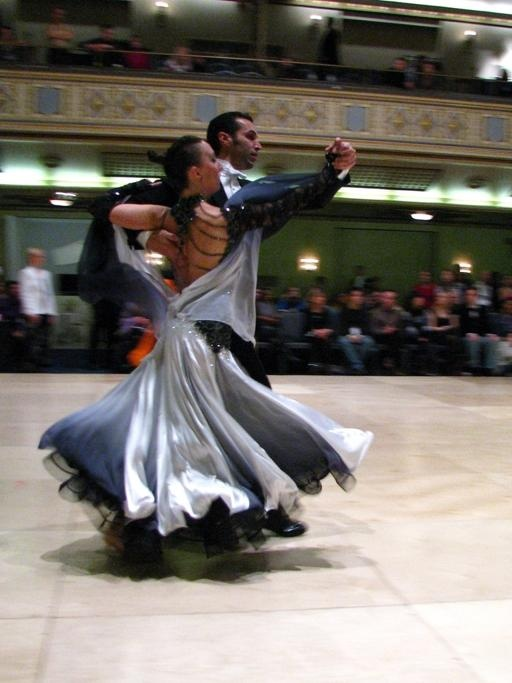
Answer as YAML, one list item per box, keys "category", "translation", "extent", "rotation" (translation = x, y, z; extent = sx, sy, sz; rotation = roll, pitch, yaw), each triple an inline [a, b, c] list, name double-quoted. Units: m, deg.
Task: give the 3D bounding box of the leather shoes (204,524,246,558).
- category: "leather shoes"
  translation: [-0.093, 0.576, 2.206]
  extent: [0.115, 0.103, 0.086]
  rotation: [2, 4, -1]

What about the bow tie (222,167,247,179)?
- category: "bow tie"
  translation: [-0.071, -0.586, 2.598]
  extent: [0.044, 0.027, 0.066]
  rotation: [10, -4, 34]

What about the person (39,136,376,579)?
- category: "person"
  translation: [-0.157, -0.001, 2.351]
  extent: [1.017, 1.307, 0.696]
  rotation: [2, 4, 7]

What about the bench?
- category: "bench"
  translation: [1.311, 0.183, 8.889]
  extent: [2.607, 0.713, 0.602]
  rotation: [-1, -26, 9]

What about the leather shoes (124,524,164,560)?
- category: "leather shoes"
  translation: [-0.333, 0.597, 2.225]
  extent: [0.108, 0.141, 0.098]
  rotation: [1, 4, -10]
